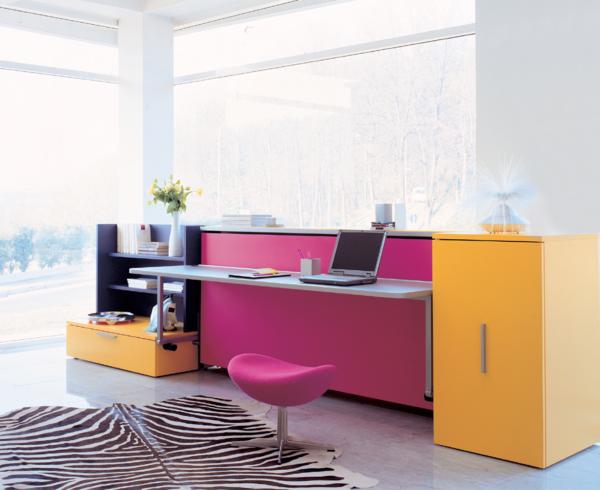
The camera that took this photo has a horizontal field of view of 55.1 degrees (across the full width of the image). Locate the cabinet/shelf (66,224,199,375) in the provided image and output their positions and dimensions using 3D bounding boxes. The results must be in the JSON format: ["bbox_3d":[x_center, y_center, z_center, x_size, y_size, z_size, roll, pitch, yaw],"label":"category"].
[{"bbox_3d":[-1.615,0.544,5.648,1.289,1.332,0.676,-1,-4,42],"label":"cabinet/shelf"}]

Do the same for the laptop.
[{"bbox_3d":[0.362,0.077,4.063,0.439,0.351,0.432,3,-2,-41],"label":"laptop"}]

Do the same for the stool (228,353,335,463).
[{"bbox_3d":[-0.137,0.972,3.502,0.659,0.574,0.446,5,5,42],"label":"stool"}]

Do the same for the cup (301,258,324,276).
[{"bbox_3d":[0.088,0.161,4.306,0.103,0.148,0.198,-1,-1,27],"label":"cup"}]

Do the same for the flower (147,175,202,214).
[{"bbox_3d":[-1.282,-0.488,5.615,0.367,0.364,0.326,1,4,-17],"label":"flower"}]
